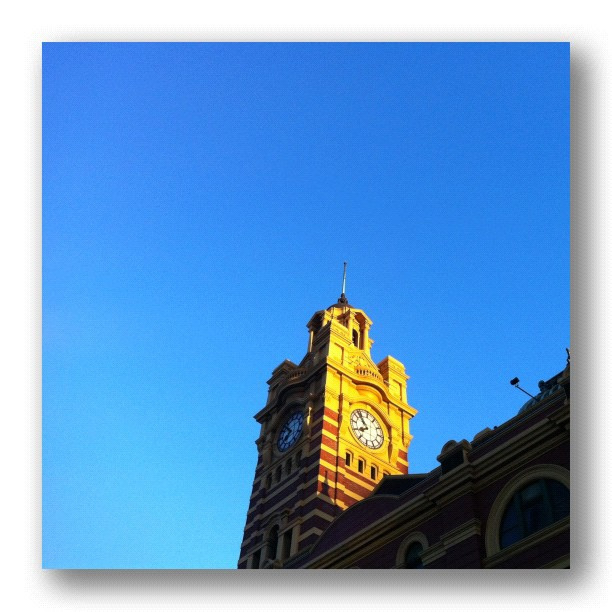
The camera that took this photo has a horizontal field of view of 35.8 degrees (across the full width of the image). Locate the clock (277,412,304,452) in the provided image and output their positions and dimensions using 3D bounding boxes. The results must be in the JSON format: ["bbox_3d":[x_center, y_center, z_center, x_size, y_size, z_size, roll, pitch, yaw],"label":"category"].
[{"bbox_3d":[-0.840,7.301,54.575,0.180,1.794,1.711,31,-47,-21],"label":"clock"}]
